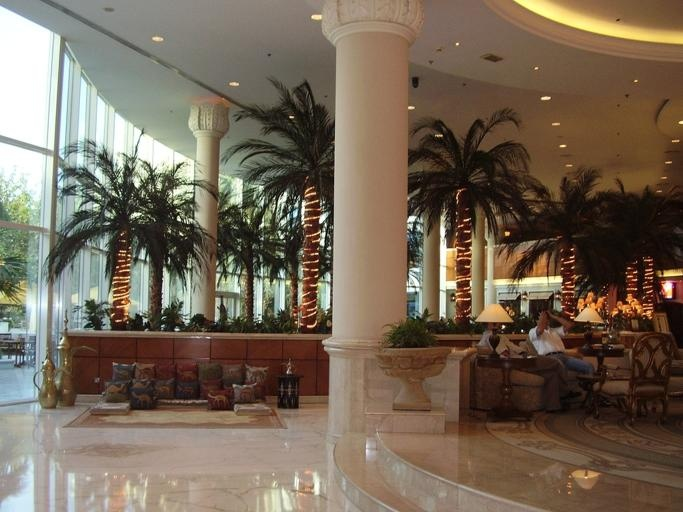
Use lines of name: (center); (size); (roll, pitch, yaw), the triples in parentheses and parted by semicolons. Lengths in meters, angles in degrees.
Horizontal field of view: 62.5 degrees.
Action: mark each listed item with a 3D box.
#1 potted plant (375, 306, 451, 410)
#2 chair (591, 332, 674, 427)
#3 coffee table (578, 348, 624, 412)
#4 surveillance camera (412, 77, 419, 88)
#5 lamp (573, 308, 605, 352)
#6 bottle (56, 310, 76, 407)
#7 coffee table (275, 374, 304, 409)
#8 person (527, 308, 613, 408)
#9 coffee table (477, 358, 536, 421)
potted plant: (0.848, 1.530, 7.971); (1.097, 1.312, 1.121); (0, -12, -1)
chair: (4.288, 1.750, 8.291); (0.881, 1.288, 0.939); (1, 1, 13)
coffee table: (4.347, 2.102, 9.491); (0.771, 1.026, 0.772); (1, 3, -2)
surveillance camera: (1.818, -4.256, 13.784); (0.168, 0.193, 0.157); (0, -6, -3)
lamp: (5.138, 1.492, 11.703); (0.552, 0.818, 0.587); (3, -5, 5)
bottle: (-5.621, 2.172, 11.510); (0.356, 1.753, 0.424); (2, -7, -27)
coffee table: (-1.101, 2.816, 11.650); (0.562, 0.675, 0.583); (2, -10, -13)
person: (3.945, 1.793, 10.191); (0.803, 1.792, 1.001); (4, -19, -20)
coffee table: (2.463, 1.949, 8.446); (0.860, 0.885, 0.875); (16, -19, -39)
